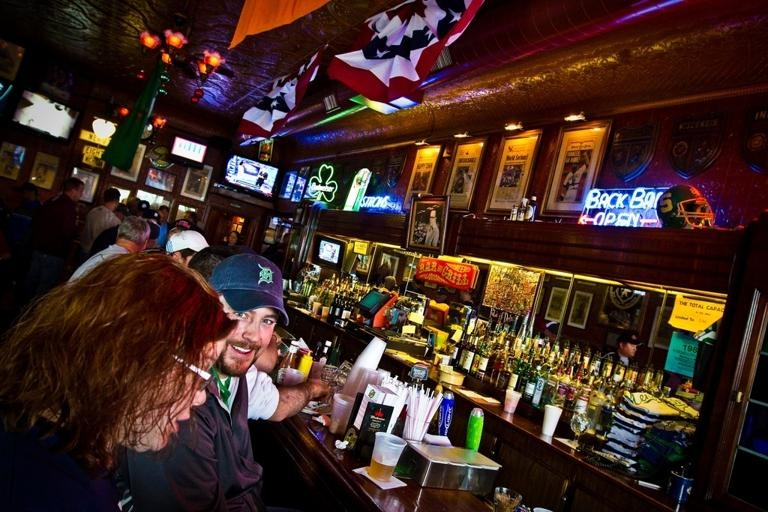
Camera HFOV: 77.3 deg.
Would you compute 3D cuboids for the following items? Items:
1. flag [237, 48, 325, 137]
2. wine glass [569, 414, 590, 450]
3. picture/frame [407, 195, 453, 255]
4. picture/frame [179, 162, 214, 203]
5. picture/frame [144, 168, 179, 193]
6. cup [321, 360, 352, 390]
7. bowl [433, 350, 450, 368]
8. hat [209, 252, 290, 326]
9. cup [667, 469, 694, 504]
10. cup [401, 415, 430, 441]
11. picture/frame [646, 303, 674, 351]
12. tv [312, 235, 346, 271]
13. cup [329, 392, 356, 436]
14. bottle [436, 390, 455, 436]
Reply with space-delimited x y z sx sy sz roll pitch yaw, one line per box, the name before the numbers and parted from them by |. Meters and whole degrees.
flag | -1.719 -2.838 8.148 0.245 1.494 1.695 39 11 -47
wine glass | 1.587 1.397 3.914 0.128 0.249 0.342 13 -3 26
picture/frame | 0.561 -0.412 6.226 0.055 0.754 0.836 4 4 -30
picture/frame | -5.405 -2.088 13.697 0.923 1.286 0.088 17 -3 -28
picture/frame | -6.286 -2.133 13.416 0.676 0.483 0.070 12 -7 -24
cup | -0.336 0.860 3.524 0.198 0.190 0.152 32 -6 -10
bowl | 0.655 1.177 5.470 0.160 0.227 0.159 -2 9 0
hat | -0.710 0.138 2.589 0.319 0.248 0.471 18 1 -43
cup | 1.958 1.527 3.180 0.120 0.167 0.096 15 -3 -26
cup | 0.175 0.974 2.733 0.137 0.142 0.139 14 -3 1
picture/frame | 2.414 0.579 4.170 0.025 0.380 0.175 16 -3 -37
tv | -1.017 -0.076 9.013 0.611 0.498 0.313 8 -3 42
cup | -0.268 0.947 2.874 0.119 0.234 0.208 14 -3 -3
bottle | 0.382 0.971 2.992 0.089 0.259 0.257 14 -3 10
